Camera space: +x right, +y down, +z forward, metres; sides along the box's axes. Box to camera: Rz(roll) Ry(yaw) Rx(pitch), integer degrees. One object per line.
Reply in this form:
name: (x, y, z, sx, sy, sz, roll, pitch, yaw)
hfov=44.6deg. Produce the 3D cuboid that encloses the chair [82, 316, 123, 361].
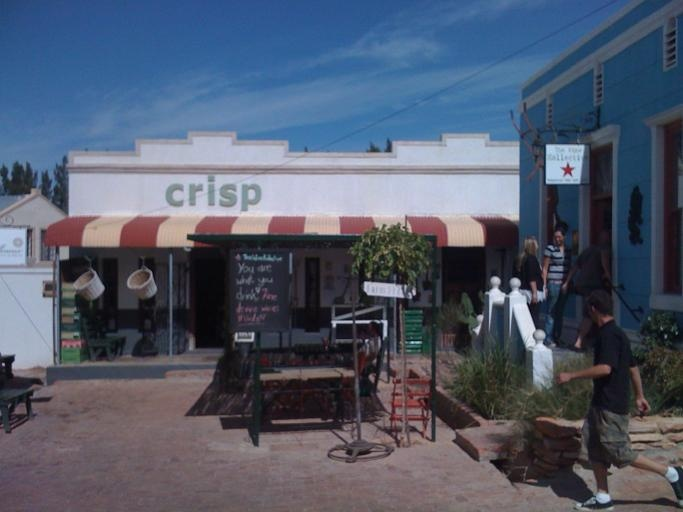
chair: (-5.497, 1.873, 19.277, 0.744, 0.913, 0.958, -1, -1, 3)

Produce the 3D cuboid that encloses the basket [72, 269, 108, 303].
basket: (-5.688, 0.625, 18.666, 0.564, 0.658, 0.550, -2, -1, 39)

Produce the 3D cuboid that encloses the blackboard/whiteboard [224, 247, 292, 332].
blackboard/whiteboard: (-1.334, 0.481, 13.898, 1.229, 1.982, 1.072, 0, -6, -2)

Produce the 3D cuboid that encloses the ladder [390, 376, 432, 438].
ladder: (1.233, 2.615, 14.245, 0.673, 1.170, 0.814, 0, -1, 1)

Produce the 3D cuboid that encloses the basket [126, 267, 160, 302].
basket: (-4.617, 0.631, 19.377, 0.643, 0.705, 1.326, -1, -1, -13)

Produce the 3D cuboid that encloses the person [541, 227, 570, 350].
person: (3.900, 0.579, 15.256, 0.391, 2.252, 0.561, 0, 2, 5)
